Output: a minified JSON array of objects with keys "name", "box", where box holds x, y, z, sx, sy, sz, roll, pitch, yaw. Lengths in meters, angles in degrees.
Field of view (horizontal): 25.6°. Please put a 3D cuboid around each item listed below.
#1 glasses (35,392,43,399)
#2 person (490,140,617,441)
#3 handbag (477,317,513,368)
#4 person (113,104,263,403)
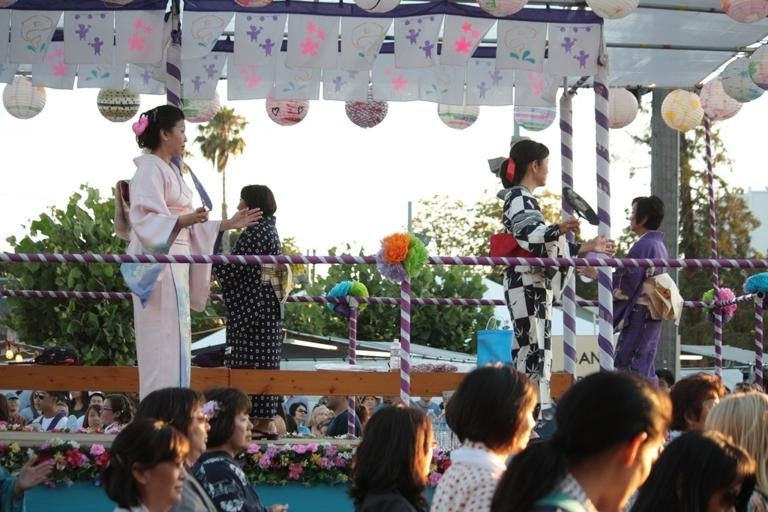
[{"name":"glasses","box":[-4.627,1.856,22.525,0.132,0.047,0.123,-4,-5,-27]},{"name":"person","box":[1.712,0.273,18.853,1.192,3.183,0.822,1,-4,8]},{"name":"handbag","box":[1.284,0.994,18.913,0.410,0.599,0.489,0,-1,-44]},{"name":"person","box":[-2.370,-0.068,18.694,1.261,3.264,0.822,3,-4,-9]}]
